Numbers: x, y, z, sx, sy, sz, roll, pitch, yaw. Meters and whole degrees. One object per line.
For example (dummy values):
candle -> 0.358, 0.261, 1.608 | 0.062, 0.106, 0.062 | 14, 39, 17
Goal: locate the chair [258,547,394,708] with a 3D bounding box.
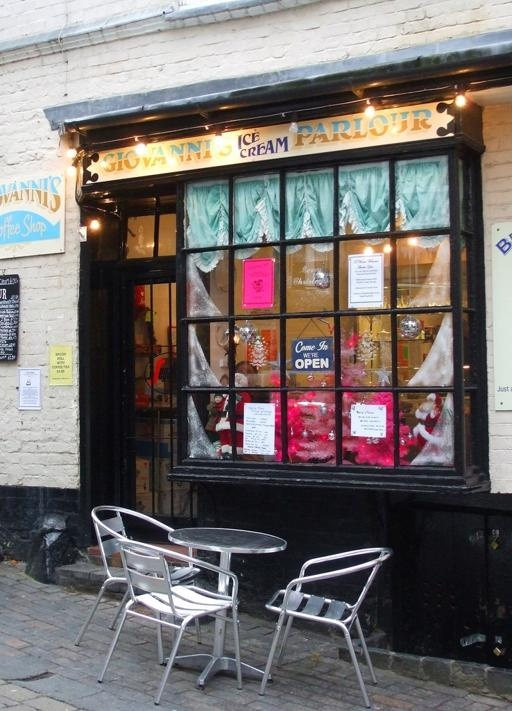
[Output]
chair -> 0.404, 1.439, 4.627 | 0.880, 1.024, 0.768 | 2, -9, 7

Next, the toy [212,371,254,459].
toy -> -0.159, 0.404, 5.432 | 0.251, 0.568, 0.196 | 0, -3, 24

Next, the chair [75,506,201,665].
chair -> -0.789, 1.410, 5.363 | 0.920, 1.096, 0.825 | -2, -5, 10
